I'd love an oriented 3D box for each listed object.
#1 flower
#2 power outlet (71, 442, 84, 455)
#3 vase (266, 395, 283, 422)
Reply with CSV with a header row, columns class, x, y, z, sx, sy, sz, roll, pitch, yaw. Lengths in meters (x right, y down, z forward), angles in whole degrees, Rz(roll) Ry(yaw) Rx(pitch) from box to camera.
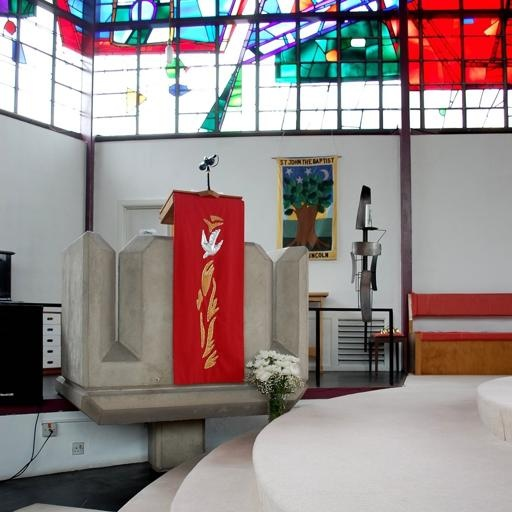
class,x,y,z,sx,sy,sz,roll,pitch,yaw
flower,0.127,0.859,4.045,0.350,0.540,0.468,0,2,8
power outlet,-1.364,1.466,4.355,0.083,0.096,0.025,5,-8,-37
vase,0.141,1.089,4.103,0.132,0.282,0.152,0,-6,5
